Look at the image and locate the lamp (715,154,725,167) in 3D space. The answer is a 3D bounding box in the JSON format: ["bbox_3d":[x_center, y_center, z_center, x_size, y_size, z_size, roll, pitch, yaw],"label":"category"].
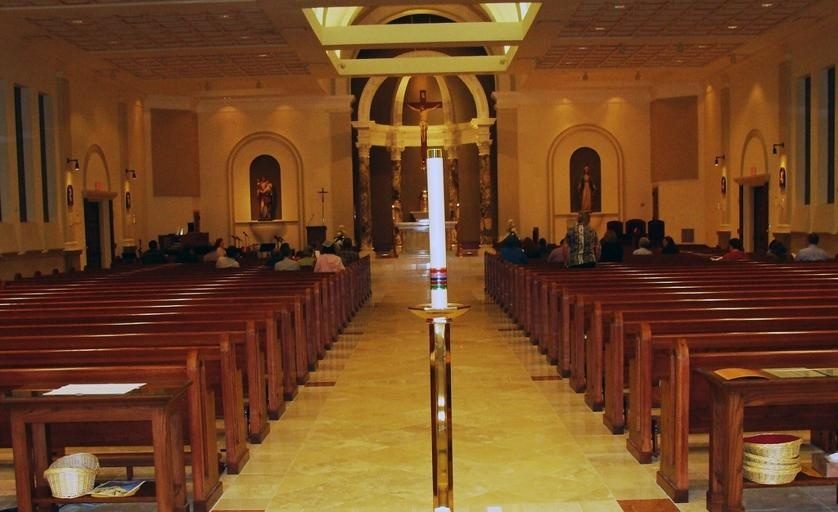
[{"bbox_3d":[9.005,-2.853,20.409,0.311,0.272,0.113,0,3,-5],"label":"lamp"}]

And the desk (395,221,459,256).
[{"bbox_3d":[0.168,-0.570,21.298,1.366,0.755,1.310,-1,1,0],"label":"desk"}]

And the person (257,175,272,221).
[{"bbox_3d":[-5.381,-1.946,23.504,0.520,1.453,0.380,-3,4,-6],"label":"person"}]

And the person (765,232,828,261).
[{"bbox_3d":[7.870,-0.192,14.187,0.652,0.626,1.172,1,3,-12],"label":"person"}]

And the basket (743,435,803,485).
[{"bbox_3d":[2.972,1.693,5.757,0.446,0.254,0.382,6,-10,-39],"label":"basket"}]

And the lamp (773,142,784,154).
[{"bbox_3d":[8.895,-2.647,16.946,0.123,0.294,0.611,-2,4,13],"label":"lamp"}]

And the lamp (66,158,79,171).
[{"bbox_3d":[-8.665,-2.269,17.029,0.256,0.353,0.267,-3,-2,18],"label":"lamp"}]

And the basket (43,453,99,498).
[{"bbox_3d":[-2.963,1.840,5.771,0.396,0.331,0.267,-4,4,-18],"label":"basket"}]

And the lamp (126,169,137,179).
[{"bbox_3d":[-8.738,-2.444,20.493,0.252,0.344,0.223,-8,-8,18],"label":"lamp"}]
